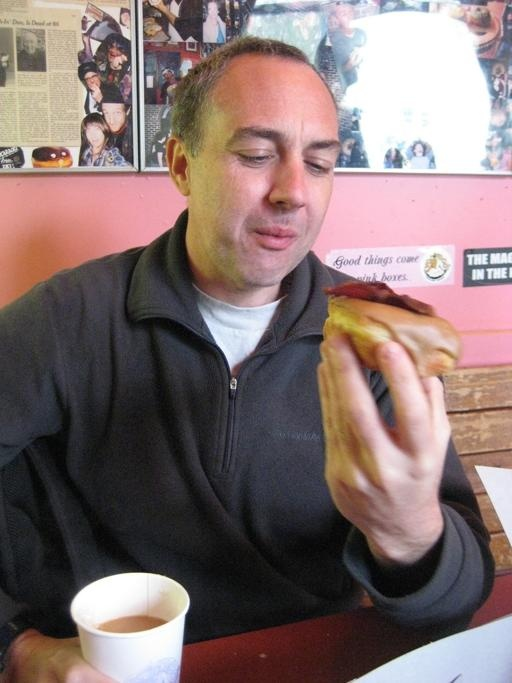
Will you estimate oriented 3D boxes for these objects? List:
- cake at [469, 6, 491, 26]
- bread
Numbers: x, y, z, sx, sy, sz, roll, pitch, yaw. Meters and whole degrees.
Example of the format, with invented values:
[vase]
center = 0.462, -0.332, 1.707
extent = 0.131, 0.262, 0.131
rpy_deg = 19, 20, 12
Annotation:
[cake]
center = 0.713, -1.025, 1.787
extent = 0.048, 0.060, 0.066
rpy_deg = -4, 5, 10
[bread]
center = 0.135, -0.021, 0.612
extent = 0.120, 0.054, 0.097
rpy_deg = 29, 7, 41
